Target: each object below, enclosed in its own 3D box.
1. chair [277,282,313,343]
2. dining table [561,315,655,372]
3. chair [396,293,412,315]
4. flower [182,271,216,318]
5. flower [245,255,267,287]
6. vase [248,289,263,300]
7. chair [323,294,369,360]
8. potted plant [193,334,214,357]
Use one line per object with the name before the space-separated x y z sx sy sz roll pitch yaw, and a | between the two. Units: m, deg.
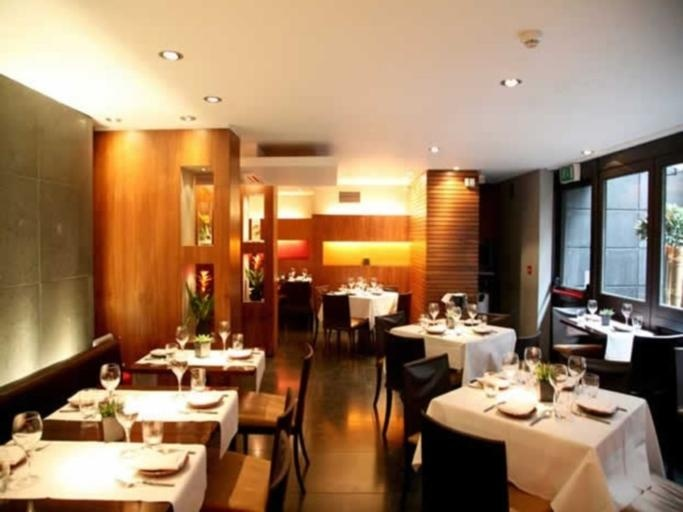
chair | -0.864 0.935 10.405 0.793 1.213 0.855 1 2 1
dining table | 3.229 1.232 6.478 0.505 0.521 1.004 2 -1 -2
chair | 1.042 0.806 8.962 0.205 0.402 0.575 0 7 14
flower | -1.780 0.487 6.670 0.327 0.554 0.382 -3 7 -17
flower | -1.394 0.214 8.502 0.292 0.493 0.545 -2 7 -7
vase | -1.321 0.600 8.265 0.240 0.262 0.136 1 -8 -7
chair | 0.053 1.037 8.872 0.732 0.966 0.951 -1 7 5
potted plant | -1.370 0.884 5.304 0.190 0.212 0.191 3 -4 -21
